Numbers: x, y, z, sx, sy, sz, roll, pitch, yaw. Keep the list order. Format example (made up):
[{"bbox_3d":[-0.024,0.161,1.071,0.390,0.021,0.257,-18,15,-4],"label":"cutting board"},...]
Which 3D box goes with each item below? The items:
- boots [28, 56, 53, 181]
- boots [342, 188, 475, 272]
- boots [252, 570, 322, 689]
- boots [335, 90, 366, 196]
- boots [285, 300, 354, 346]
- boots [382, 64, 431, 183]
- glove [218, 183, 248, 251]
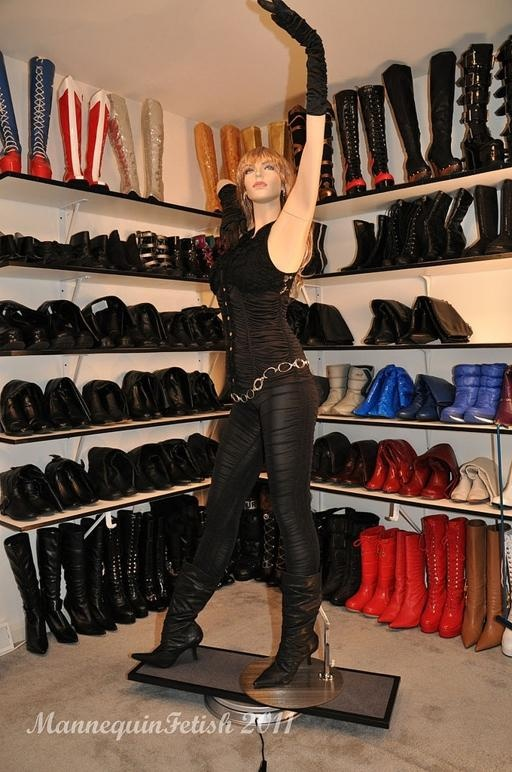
[{"bbox_3d":[-0.904,-1.118,2.319,0.094,0.535,0.150,0,-2,-23],"label":"boots"},{"bbox_3d":[0.714,-0.713,2.613,0.266,0.381,0.617,1,-3,-45],"label":"boots"},{"bbox_3d":[0.086,0.684,1.532,0.187,0.342,0.153,-1,-2,-1],"label":"boots"},{"bbox_3d":[0.478,-1.255,2.824,0.153,0.597,0.248,-5,5,7],"label":"boots"},{"bbox_3d":[0.340,-0.324,2.972,0.261,0.352,0.145,17,27,37],"label":"boots"},{"bbox_3d":[0.711,-1.232,2.623,0.200,0.706,0.434,-1,-2,13],"label":"boots"},{"bbox_3d":[-0.091,-0.578,1.942,0.099,0.135,0.339,-20,37,14],"label":"glove"}]
